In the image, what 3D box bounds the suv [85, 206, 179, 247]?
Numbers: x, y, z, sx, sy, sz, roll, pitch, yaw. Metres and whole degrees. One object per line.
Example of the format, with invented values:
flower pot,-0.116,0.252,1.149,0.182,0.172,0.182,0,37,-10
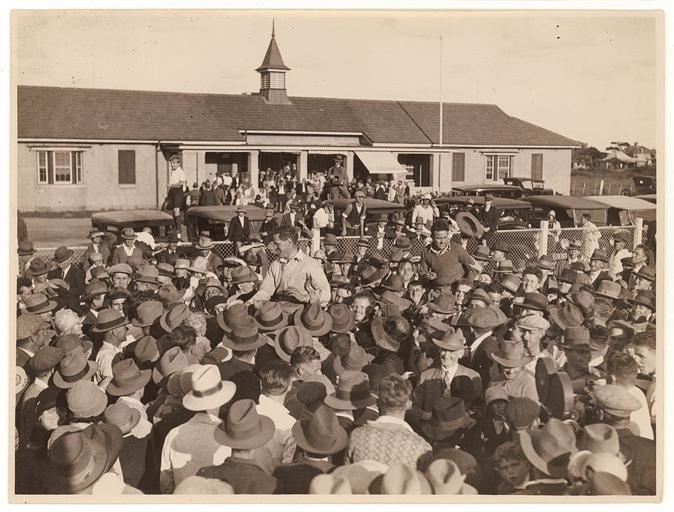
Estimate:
suv,-5.248,-0.935,20.257,1.380,1.152,1.965,-3,16,-29
